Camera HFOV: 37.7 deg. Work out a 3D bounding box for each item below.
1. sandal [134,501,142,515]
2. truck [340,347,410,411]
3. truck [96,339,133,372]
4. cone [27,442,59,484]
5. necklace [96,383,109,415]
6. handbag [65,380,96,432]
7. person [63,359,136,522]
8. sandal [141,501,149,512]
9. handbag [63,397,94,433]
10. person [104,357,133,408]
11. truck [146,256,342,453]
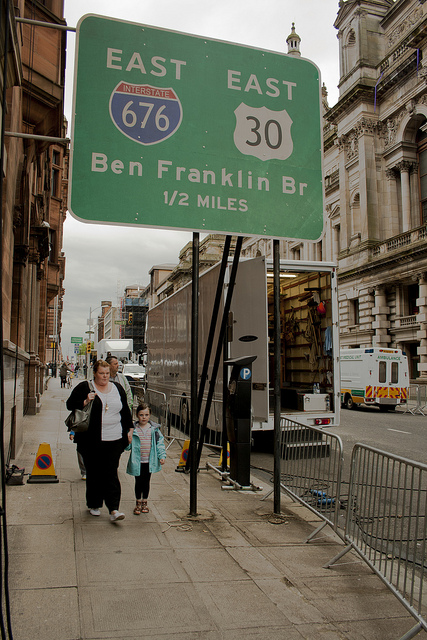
[{"bbox_3d":[-0.786,1.943,6.501,0.068,0.108,0.140,1,-4,7],"label":"sandal"},{"bbox_3d":[6.387,2.623,25.999,1.669,2.307,3.611,2,-9,-3],"label":"truck"},{"bbox_3d":[-4.312,1.481,28.147,1.023,1.482,2.027,3,-15,-27],"label":"truck"},{"bbox_3d":[-2.146,1.791,7.967,0.325,0.596,0.403,1,-6,1],"label":"cone"},{"bbox_3d":[-1.120,0.808,6.370,0.107,0.284,0.160,2,-3,-14],"label":"necklace"},{"bbox_3d":[-1.299,0.915,6.171,0.285,0.330,0.246,3,-3,-20],"label":"handbag"},{"bbox_3d":[-1.171,1.209,6.421,0.685,1.605,1.070,2,-3,-9],"label":"person"},{"bbox_3d":[-0.721,1.957,6.624,0.073,0.105,0.267,1,-4,-1],"label":"sandal"},{"bbox_3d":[-1.352,0.939,6.209,0.283,0.355,0.356,1,-3,9],"label":"handbag"},{"bbox_3d":[-1.314,0.886,8.740,0.426,0.561,0.882,3,-13,-17],"label":"person"},{"bbox_3d":[-0.280,0.953,14.223,1.472,3.430,5.757,5,-7,-24],"label":"truck"}]
